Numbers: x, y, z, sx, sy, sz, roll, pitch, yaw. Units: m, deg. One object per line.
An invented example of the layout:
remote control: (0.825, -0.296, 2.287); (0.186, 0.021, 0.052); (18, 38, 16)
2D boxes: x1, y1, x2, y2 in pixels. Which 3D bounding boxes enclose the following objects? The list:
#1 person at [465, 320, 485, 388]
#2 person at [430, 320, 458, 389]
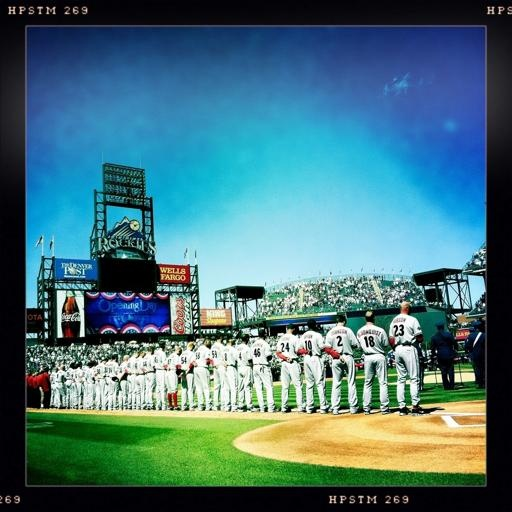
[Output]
person: (5.039, 2.271, 14.064); (0.411, 1.497, 1.264); (-4, -5, 17)
person: (4.407, 2.364, 14.398); (0.522, 1.593, 0.858); (-4, -5, 14)
